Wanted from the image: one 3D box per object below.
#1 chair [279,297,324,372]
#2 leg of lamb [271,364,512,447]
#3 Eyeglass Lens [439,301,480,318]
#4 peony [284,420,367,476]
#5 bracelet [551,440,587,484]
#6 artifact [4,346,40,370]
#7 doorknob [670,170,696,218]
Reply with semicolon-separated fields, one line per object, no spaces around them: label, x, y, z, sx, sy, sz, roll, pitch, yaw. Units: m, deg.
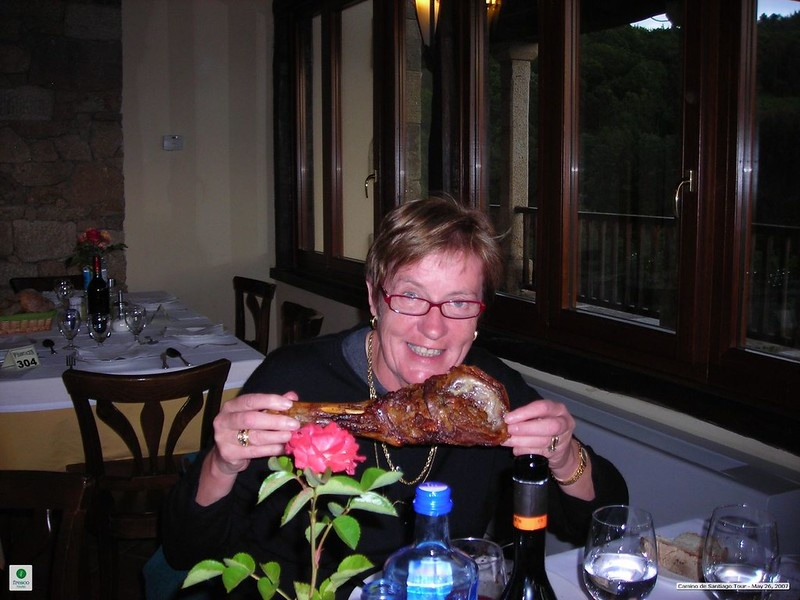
chair;-0.536;0.156;3.425;0.284;0.489;0.197;0;49;-13
leg of lamb;-0.028;0.230;1.251;0.491;0.142;0.162;1;36;0
Eyeglass Lens;0.140;0.021;1.415;0.117;0.047;0.023;-6;8;-31
peony;-0.102;0.199;0.796;0.087;0.080;0.082;-3;7;-13
bracelet;0.388;0.366;1.419;0.031;0.098;0.080;-6;-9;41
artifact;-1.537;0.234;2.498;0.127;0.082;0.097;-7;9;-35
doorknob;0.934;-0.351;2.030;0.066;0.150;0.028;-2;29;18
